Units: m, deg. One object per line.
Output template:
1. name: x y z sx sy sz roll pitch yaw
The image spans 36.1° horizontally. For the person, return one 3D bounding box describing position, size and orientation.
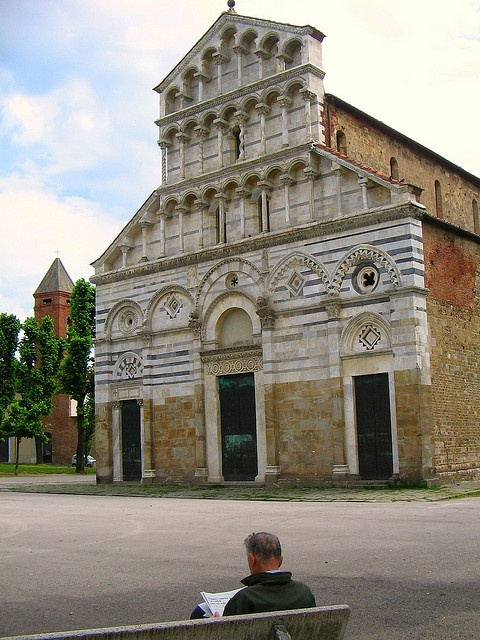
1. person: 0.118 1.451 4.027 0.499 0.553 0.713 2 -8 -26
